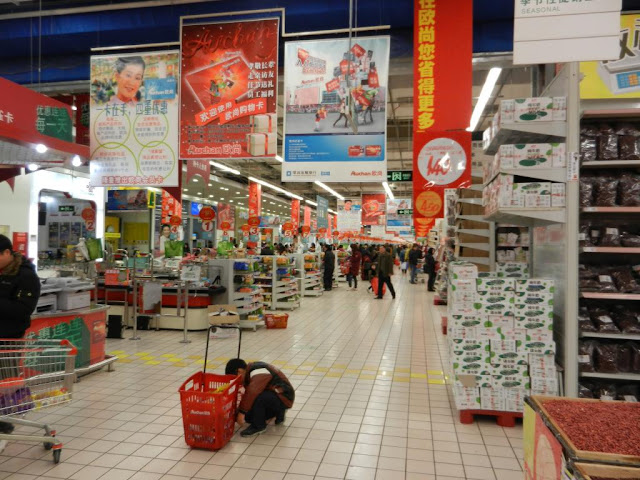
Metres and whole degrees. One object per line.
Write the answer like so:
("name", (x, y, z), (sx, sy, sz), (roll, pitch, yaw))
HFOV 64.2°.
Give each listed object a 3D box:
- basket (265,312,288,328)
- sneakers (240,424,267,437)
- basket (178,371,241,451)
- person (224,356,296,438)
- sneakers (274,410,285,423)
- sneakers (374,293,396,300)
("basket", (-0.865, 1.585, 9.953), (0.453, 0.252, 0.321), (-1, 7, -8))
("sneakers", (-0.695, 1.947, 5.224), (0.281, 0.093, 0.092), (4, -9, -17))
("basket", (-1.114, 1.675, 5.148), (0.547, 0.606, 0.632), (1, 7, 2))
("person", (-0.658, 1.626, 5.436), (0.845, 0.681, 0.571), (2, -11, -10))
("sneakers", (-0.413, 1.875, 5.425), (0.093, 0.082, 0.223), (0, -4, 8))
("sneakers", (1.884, 1.622, 14.662), (0.642, 0.202, 0.190), (1, -8, 1))
